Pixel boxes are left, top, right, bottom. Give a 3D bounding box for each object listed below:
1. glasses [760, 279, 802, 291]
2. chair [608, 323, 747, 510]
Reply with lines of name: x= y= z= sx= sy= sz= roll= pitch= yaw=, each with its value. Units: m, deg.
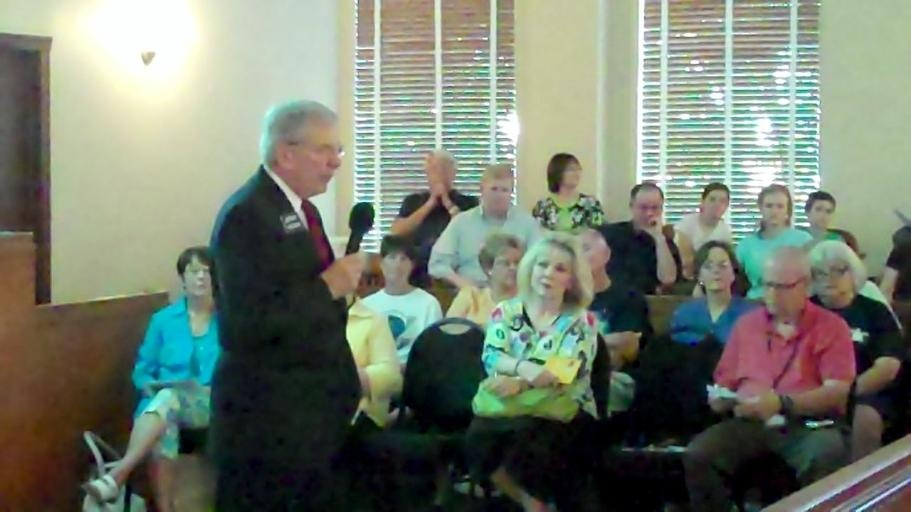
glasses: x=1.983 y=0.168 z=5.214 sx=0.212 sy=0.056 sz=0.047 roll=1 pitch=5 yaw=-2
chair: x=1.303 y=1.042 z=5.410 sx=0.739 sy=1.050 sz=0.498 roll=1 pitch=5 yaw=3
